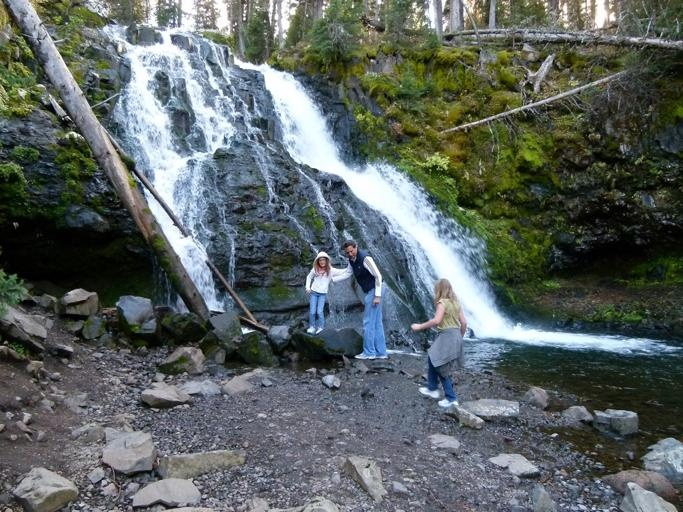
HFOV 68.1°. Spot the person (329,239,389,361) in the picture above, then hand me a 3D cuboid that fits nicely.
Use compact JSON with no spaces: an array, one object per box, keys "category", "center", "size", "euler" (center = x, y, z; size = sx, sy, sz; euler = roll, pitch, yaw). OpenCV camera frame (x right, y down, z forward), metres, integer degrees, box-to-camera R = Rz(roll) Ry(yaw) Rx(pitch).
[{"category":"person","center":[0.505,0.917,11.331],"size":[0.910,2.639,1.134],"euler":[-6,20,-15]}]

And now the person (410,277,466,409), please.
[{"category":"person","center":[1.897,1.688,9.352],"size":[0.847,2.458,0.773],"euler":[16,25,40]}]

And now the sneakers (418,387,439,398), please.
[{"category":"sneakers","center":[1.693,2.647,9.875],"size":[0.411,0.204,0.155],"euler":[16,18,26]}]

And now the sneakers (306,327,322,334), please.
[{"category":"sneakers","center":[-0.660,1.773,11.963],"size":[0.137,0.172,0.416],"euler":[1,-6,39]}]

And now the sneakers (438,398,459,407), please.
[{"category":"sneakers","center":[1.982,2.745,9.436],"size":[0.396,0.183,0.152],"euler":[0,9,27]}]
